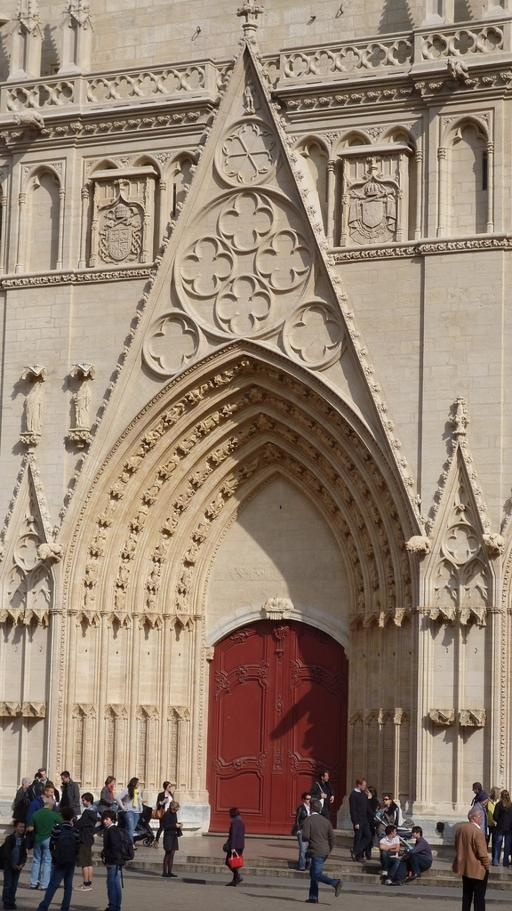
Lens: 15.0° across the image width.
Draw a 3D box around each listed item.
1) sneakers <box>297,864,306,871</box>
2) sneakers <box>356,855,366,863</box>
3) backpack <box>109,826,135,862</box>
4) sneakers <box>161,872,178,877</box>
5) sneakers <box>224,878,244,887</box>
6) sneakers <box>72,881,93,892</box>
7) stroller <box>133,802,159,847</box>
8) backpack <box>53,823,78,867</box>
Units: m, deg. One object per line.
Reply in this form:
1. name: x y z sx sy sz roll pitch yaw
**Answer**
1. sneakers: 0.626 5.691 26.559 0.046 0.102 0.143 4 -19 -12
2. sneakers: 1.479 5.667 27.029 0.152 0.153 0.067 3 -9 -10
3. backpack: -1.534 4.452 22.061 0.193 0.424 0.370 -1 -15 5
4. sneakers: -1.157 5.612 25.731 0.255 0.108 0.082 -1 0 -2
5. sneakers: -0.289 5.581 25.353 0.219 0.167 0.086 -7 -10 38
6. sneakers: -2.178 5.416 24.285 0.237 0.173 0.084 1 -8 22
7. stroller: -1.636 5.523 28.688 0.495 0.787 0.525 1 -9 0
8. backpack: -2.160 4.413 21.796 0.365 0.495 0.280 6 -37 -14
